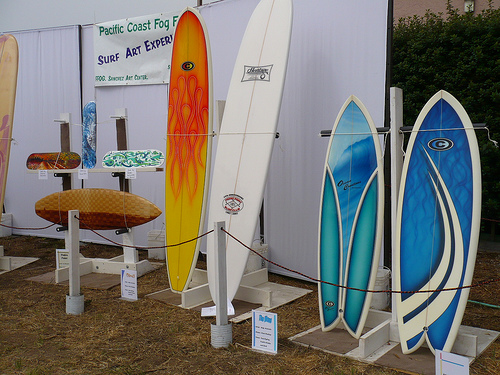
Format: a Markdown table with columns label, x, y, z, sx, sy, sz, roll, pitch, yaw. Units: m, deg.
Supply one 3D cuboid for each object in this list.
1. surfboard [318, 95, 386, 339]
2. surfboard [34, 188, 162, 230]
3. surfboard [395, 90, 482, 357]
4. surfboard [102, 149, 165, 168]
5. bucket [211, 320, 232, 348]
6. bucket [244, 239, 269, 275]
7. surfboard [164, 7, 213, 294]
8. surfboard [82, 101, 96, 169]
| label | x | y | z | sx | sy | sz | roll | pitch | yaw |
| --- | --- | --- | --- | --- | --- | --- | --- | --- | --- |
| surfboard | 0.907 | 0.233 | 5.612 | 0.578 | 2.059 | 0.777 | 2 | 12 | 12 |
| surfboard | -1.729 | 0.258 | 7.118 | 1.615 | 0.473 | 0.219 | 4 | 13 | 21 |
| surfboard | 1.576 | 0.366 | 5.266 | 0.585 | 2.233 | 2.089 | 0 | -16 | 16 |
| surfboard | -1.343 | -0.302 | 6.902 | 0.837 | 0.285 | 0.111 | -2 | -12 | 22 |
| bucket | -0.253 | 1.284 | 5.412 | 0.165 | 0.213 | 0.180 | 0 | -4 | 0 |
| bucket | 0.098 | 0.782 | 6.894 | 0.235 | 0.402 | 0.397 | 0 | 0 | 29 |
| surfboard | -0.634 | -0.327 | 6.539 | 0.557 | 2.971 | 0.311 | -2 | -4 | 34 |
| surfboard | -2.130 | -0.543 | 8.251 | 0.244 | 0.124 | 1.305 | -26 | -20 | -27 |
